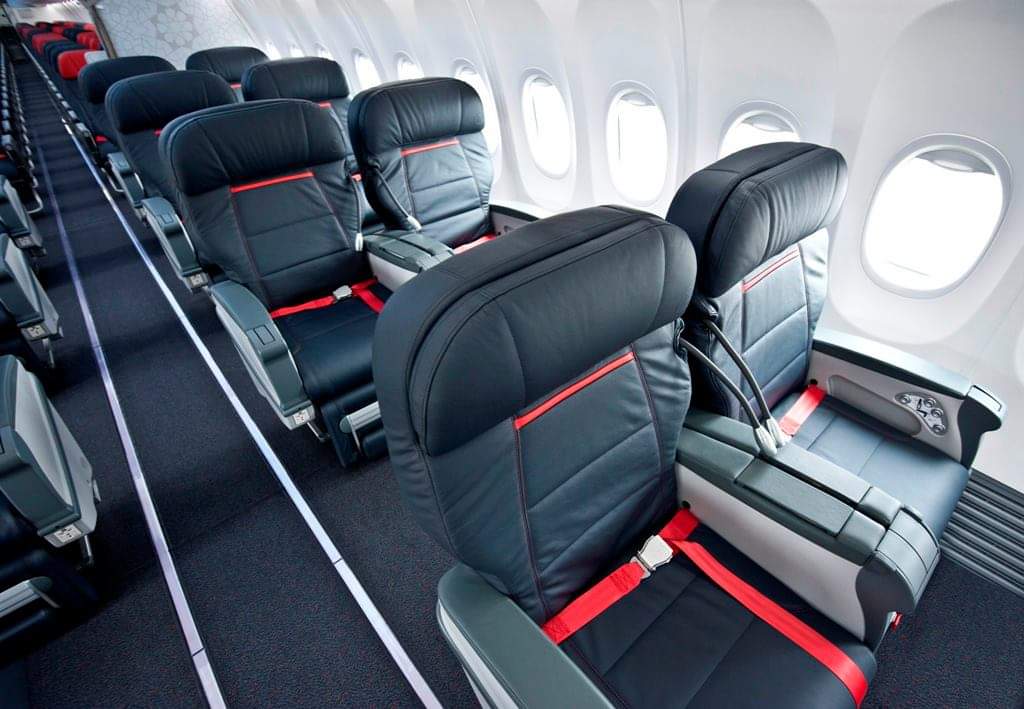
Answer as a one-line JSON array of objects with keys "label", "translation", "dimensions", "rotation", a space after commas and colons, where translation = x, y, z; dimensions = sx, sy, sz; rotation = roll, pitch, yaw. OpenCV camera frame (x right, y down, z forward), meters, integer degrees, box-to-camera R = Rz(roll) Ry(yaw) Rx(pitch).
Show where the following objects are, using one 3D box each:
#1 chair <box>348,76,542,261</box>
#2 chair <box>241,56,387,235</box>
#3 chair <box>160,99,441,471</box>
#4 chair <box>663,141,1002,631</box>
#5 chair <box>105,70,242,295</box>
[{"label": "chair", "translation": [-0.344, -0.921, 3.864], "dimensions": [0.899, 1.296, 1.249], "rotation": [-18, 37, -19]}, {"label": "chair", "translation": [-1.425, -1.716, 4.723], "dimensions": [0.779, 1.221, 1.015], "rotation": [-17, 12, -14]}, {"label": "chair", "translation": [-1.109, -0.478, 3.565], "dimensions": [1.065, 1.605, 1.340], "rotation": [-29, 48, -31]}, {"label": "chair", "translation": [1.406, 0.167, 2.709], "dimensions": [1.225, 1.767, 1.148], "rotation": [-37, 47, -26]}, {"label": "chair", "translation": [-2.277, -1.310, 4.608], "dimensions": [0.913, 1.128, 1.269], "rotation": [-26, 60, -37]}]
